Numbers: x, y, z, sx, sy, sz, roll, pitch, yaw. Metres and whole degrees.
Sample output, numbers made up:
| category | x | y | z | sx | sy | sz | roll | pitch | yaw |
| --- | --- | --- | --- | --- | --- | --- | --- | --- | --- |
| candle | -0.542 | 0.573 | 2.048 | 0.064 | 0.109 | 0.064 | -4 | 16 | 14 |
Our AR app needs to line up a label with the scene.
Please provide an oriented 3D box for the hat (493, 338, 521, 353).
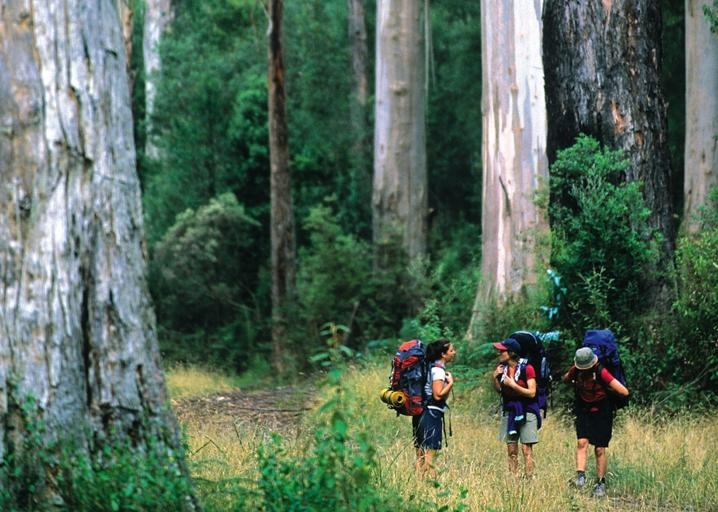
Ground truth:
| category | x | y | z | sx | sy | sz | roll | pitch | yaw |
| --- | --- | --- | --- | --- | --- | --- | --- | --- | --- |
| hat | 2.285 | 1.371 | 19.281 | 0.288 | 0.140 | 0.213 | 6 | 4 | 12 |

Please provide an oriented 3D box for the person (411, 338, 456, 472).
| category | x | y | z | sx | sy | sz | roll | pitch | yaw |
| --- | --- | --- | --- | --- | --- | --- | --- | --- | --- |
| person | 1.135 | 2.258 | 19.081 | 0.645 | 1.557 | 0.544 | -3 | 1 | -6 |

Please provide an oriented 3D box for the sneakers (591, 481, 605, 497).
| category | x | y | z | sx | sy | sz | roll | pitch | yaw |
| --- | --- | --- | --- | --- | --- | --- | --- | --- | --- |
| sneakers | 3.643 | 3.522 | 19.175 | 0.166 | 0.312 | 0.189 | 4 | -3 | -39 |

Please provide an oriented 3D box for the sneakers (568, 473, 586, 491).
| category | x | y | z | sx | sy | sz | roll | pitch | yaw |
| --- | --- | --- | --- | --- | --- | --- | --- | --- | --- |
| sneakers | 3.329 | 3.451 | 19.286 | 0.201 | 0.191 | 0.229 | 8 | -13 | 4 |
